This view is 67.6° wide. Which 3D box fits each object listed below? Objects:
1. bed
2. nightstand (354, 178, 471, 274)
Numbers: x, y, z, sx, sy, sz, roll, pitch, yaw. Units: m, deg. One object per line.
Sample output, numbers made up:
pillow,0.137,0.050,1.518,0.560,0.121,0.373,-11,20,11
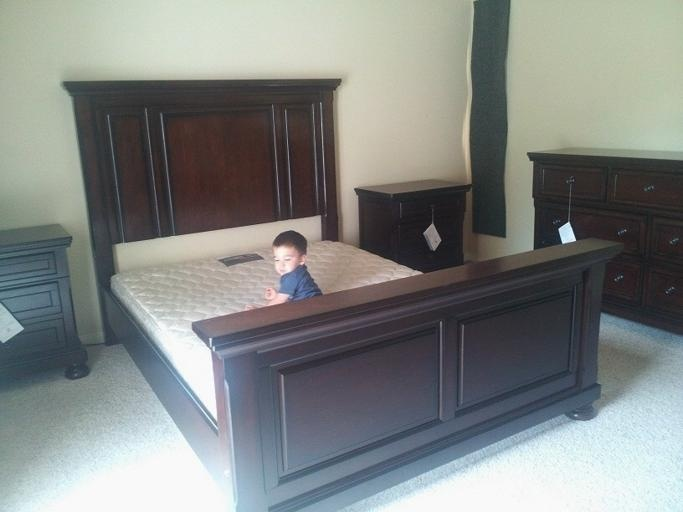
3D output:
bed,-0.339,0.169,3.406,2.506,2.134,2.956,-10,18,-27
nightstand,0.654,-0.207,4.572,0.852,0.823,0.572,-10,19,-27
